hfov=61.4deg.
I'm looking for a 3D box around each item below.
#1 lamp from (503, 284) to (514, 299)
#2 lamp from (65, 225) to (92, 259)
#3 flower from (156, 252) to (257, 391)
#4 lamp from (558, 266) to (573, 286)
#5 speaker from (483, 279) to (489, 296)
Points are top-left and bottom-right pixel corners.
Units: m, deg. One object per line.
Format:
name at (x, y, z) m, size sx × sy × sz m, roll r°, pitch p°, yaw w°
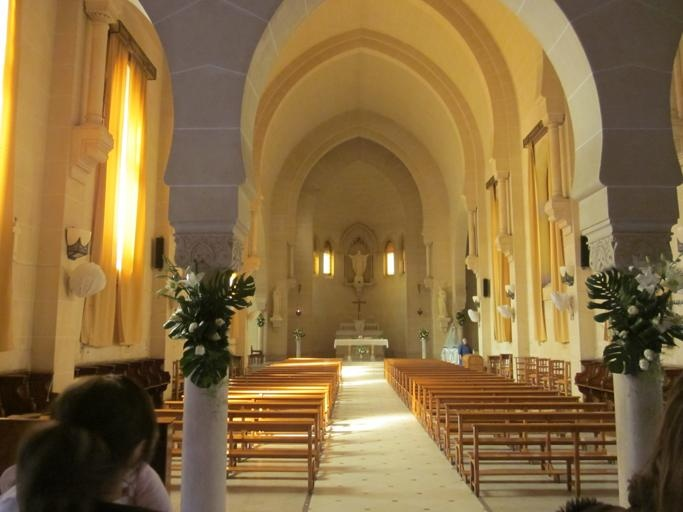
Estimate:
lamp at (4.674, 0.984, 15.993) m, size 0.303 × 0.380 × 0.311 m, roll 5°, pitch -11°, yaw -22°
lamp at (-4.604, -0.237, 9.997) m, size 0.322 × 0.616 × 0.480 m, roll -11°, pitch -12°, yaw 28°
flower at (-1.294, 0.685, 6.267) m, size 1.257 × 1.528 × 1.050 m, roll 6°, pitch -9°, yaw -37°
lamp at (4.953, 0.451, 12.705) m, size 0.350 × 0.424 × 0.353 m, roll 7°, pitch -11°, yaw -36°
speaker at (4.718, 1.043, 18.806) m, size 0.185 × 0.632 × 0.148 m, roll 0°, pitch -5°, yaw -3°
